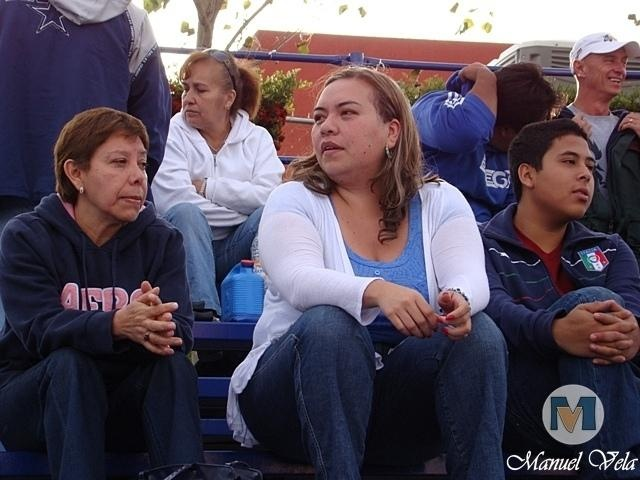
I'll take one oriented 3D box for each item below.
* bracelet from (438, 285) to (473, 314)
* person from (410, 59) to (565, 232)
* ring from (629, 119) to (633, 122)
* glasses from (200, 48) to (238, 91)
[{"bbox_3d":[0.479,0.200,2.556,0.144,0.089,0.108,-13,5,28],"label":"bracelet"},{"bbox_3d":[0.992,-0.496,4.241,0.889,1.067,0.751,0,11,14],"label":"person"},{"bbox_3d":[1.951,-0.755,4.467,0.015,0.016,0.005,-9,-29,12],"label":"ring"},{"bbox_3d":[-0.619,-1.055,4.421,0.073,0.247,0.232,-8,19,-38],"label":"glasses"}]
